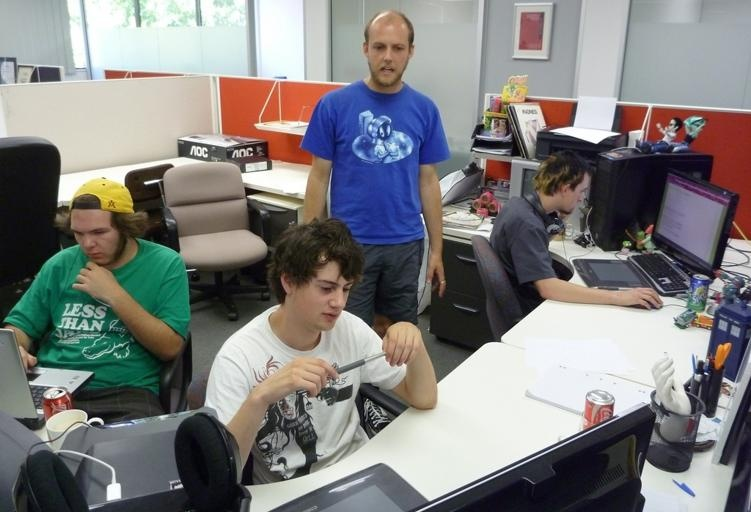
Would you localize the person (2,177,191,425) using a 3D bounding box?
[{"bbox_3d":[-0.981,0.125,2.380,0.840,1.113,0.845,1,8,1],"label":"person"}]

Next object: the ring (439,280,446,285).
[{"bbox_3d":[0.353,0.141,2.863,0.032,0.011,0.033,-1,7,0],"label":"ring"}]

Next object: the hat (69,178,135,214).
[{"bbox_3d":[-1.082,-0.239,2.119,0.135,0.126,0.204,9,13,24],"label":"hat"}]

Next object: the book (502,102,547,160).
[{"bbox_3d":[0.943,-0.814,3.337,0.080,0.349,0.349,-8,5,37],"label":"book"}]

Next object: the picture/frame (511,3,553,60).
[{"bbox_3d":[1.196,-1.737,4.065,0.347,0.491,0.037,11,23,27],"label":"picture/frame"}]

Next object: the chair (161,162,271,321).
[{"bbox_3d":[-1.151,-0.120,3.825,0.621,1.042,0.632,-10,19,-27],"label":"chair"}]

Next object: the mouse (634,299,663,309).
[{"bbox_3d":[1.243,0.225,2.417,0.074,0.019,0.048,-12,-25,8],"label":"mouse"}]

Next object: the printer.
[{"bbox_3d":[1.249,-0.766,3.220,0.496,0.376,0.390,15,21,41],"label":"printer"}]

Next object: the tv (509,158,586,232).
[{"bbox_3d":[0.904,-0.313,2.777,0.308,0.493,0.326,-9,21,-30],"label":"tv"}]
